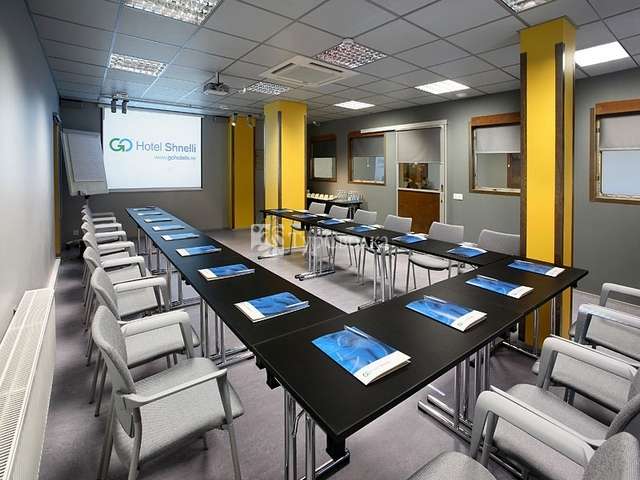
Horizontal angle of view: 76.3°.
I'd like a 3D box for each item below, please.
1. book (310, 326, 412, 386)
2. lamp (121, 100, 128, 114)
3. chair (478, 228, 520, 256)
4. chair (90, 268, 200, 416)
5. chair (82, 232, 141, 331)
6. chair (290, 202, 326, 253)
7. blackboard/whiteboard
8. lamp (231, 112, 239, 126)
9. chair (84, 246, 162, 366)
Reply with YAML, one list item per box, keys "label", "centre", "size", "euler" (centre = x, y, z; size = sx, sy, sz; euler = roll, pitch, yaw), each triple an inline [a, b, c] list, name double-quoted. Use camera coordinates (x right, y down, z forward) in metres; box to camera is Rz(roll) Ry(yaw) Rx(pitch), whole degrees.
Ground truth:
- label: "book"
  centre: [0.236, 0.696, 2.547]
  size: [0.280, 0.045, 0.382]
  euler: [-14, 18, -29]
- label: "lamp"
  centre: [-3.851, -2.622, 8.042]
  size: [0.112, 0.235, 0.410]
  euler: [-7, 13, -28]
- label: "chair"
  centre: [2.139, 0.015, 4.746]
  size: [0.331, 0.442, 0.306]
  euler: [-8, 16, -41]
- label: "chair"
  centre: [-1.448, 0.826, 3.330]
  size: [0.812, 1.089, 0.743]
  euler: [-6, 22, -37]
- label: "chair"
  centre: [-2.058, 0.403, 4.000]
  size: [0.627, 0.966, 0.738]
  euler: [-2, 23, -24]
- label: "chair"
  centre: [-0.235, -0.211, 7.660]
  size: [0.573, 0.925, 0.542]
  euler: [-9, 18, -40]
- label: "blackboard/whiteboard"
  centre: [-4.445, -1.464, 7.672]
  size: [0.636, 1.151, 0.802]
  euler: [7, 14, 38]
- label: "lamp"
  centre: [-2.079, -2.927, 9.996]
  size: [0.193, 0.278, 0.630]
  euler: [-3, 12, -11]
- label: "chair"
  centre: [-1.720, 0.578, 3.525]
  size: [0.662, 1.020, 0.776]
  euler: [-2, 19, -20]
